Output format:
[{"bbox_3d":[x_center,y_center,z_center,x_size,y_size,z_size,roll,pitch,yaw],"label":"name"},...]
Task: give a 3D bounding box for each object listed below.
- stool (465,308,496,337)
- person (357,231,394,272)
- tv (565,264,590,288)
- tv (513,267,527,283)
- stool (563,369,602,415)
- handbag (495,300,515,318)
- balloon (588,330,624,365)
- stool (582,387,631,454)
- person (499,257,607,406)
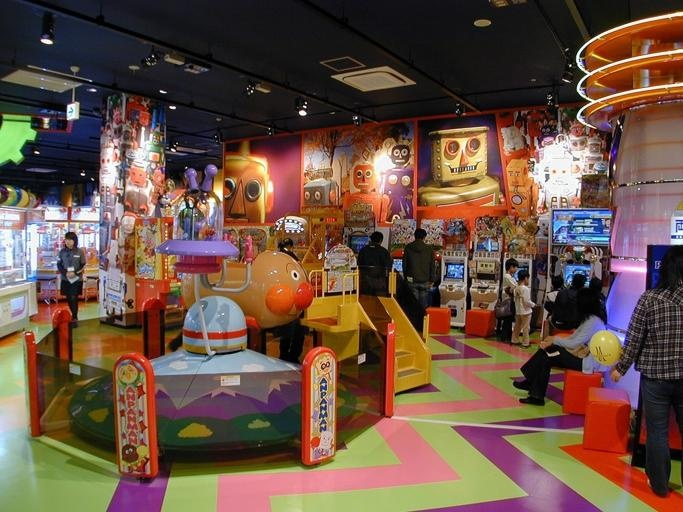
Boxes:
[{"bbox_3d":[2.618,1.230,9.339,0.487,0.545,0.484,3,3,41],"label":"stool"},{"bbox_3d":[0.636,-0.088,8.973,0.538,0.901,0.449,7,14,24],"label":"person"},{"bbox_3d":[3.902,0.339,8.110,0.354,0.415,0.042,1,-15,12],"label":"tv"},{"bbox_3d":[3.085,0.335,8.522,0.136,0.194,0.189,5,-34,7],"label":"tv"},{"bbox_3d":[2.770,1.616,5.766,0.435,0.489,0.461,-2,22,21],"label":"stool"},{"bbox_3d":[2.884,0.940,8.650,0.301,0.323,0.131,-4,-5,35],"label":"handbag"},{"bbox_3d":[2.624,0.919,4.873,0.286,0.380,0.300,-2,12,32],"label":"balloon"},{"bbox_3d":[2.723,1.723,5.235,0.481,0.542,0.530,7,2,21],"label":"stool"},{"bbox_3d":[2.671,1.131,5.947,1.487,2.259,0.848,1,0,13],"label":"person"}]
